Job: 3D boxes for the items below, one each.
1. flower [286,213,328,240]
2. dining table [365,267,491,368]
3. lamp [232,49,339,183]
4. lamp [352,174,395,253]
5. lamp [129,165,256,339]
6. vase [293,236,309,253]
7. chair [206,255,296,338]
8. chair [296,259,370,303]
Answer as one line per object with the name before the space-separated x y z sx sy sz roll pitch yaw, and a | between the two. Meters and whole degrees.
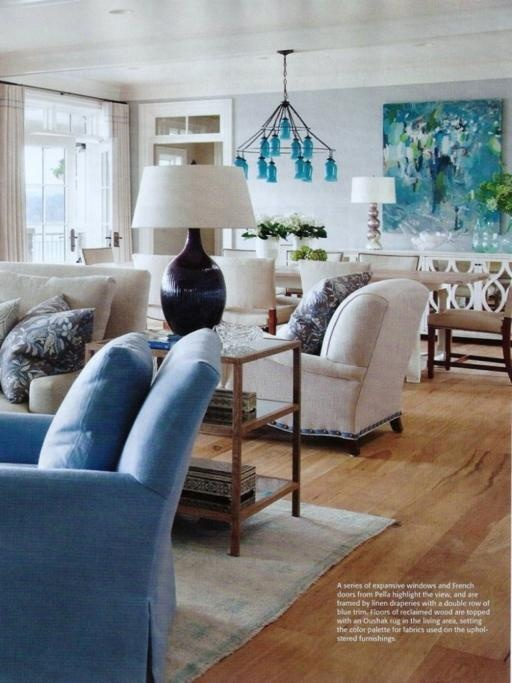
flower | 0.403 -0.937 4.997 0.302 0.204 0.185 1 6 -1
dining table | 1.306 -0.309 4.458 1.015 0.476 0.577 2 4 34
lamp | 0.325 -2.423 6.331 0.841 0.854 0.828 -20 25 -25
lamp | 1.121 -1.240 5.888 0.445 0.646 0.431 1 9 17
lamp | -0.206 -0.287 1.908 0.334 0.557 0.358 4 7 26
vase | 0.372 -0.797 5.028 0.128 0.088 0.124 0 8 3
chair | -0.004 -0.360 4.460 0.549 0.731 0.583 8 15 31
chair | 0.452 -0.397 3.839 0.333 0.142 0.318 -3 6 21
